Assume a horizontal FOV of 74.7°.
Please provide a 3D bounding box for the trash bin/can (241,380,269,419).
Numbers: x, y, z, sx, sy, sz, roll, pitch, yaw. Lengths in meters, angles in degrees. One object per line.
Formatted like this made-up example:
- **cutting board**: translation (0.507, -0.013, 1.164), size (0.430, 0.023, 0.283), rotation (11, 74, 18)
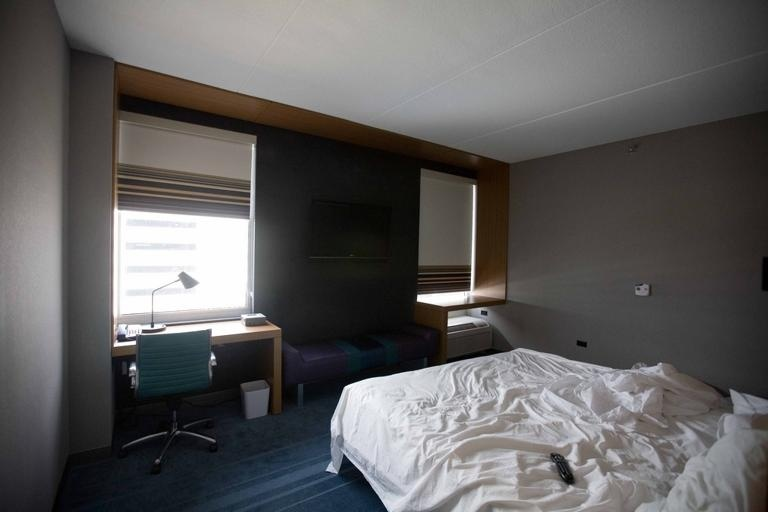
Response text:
- **trash bin/can**: translation (-1.249, 1.462, 5.218), size (0.331, 0.402, 0.291), rotation (1, -1, -35)

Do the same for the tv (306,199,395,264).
- **tv**: translation (-0.443, -0.302, 6.120), size (0.837, 0.567, 0.030), rotation (0, 3, -34)

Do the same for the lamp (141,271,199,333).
- **lamp**: translation (-2.080, 0.439, 4.953), size (0.564, 0.557, 0.262), rotation (-1, 4, -34)

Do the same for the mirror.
- **mirror**: translation (0.916, -0.340, 7.186), size (1.101, 1.522, 0.172), rotation (-2, 1, -39)

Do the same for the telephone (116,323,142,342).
- **telephone**: translation (-2.378, 0.725, 4.753), size (0.201, 0.071, 0.185), rotation (0, 18, -29)

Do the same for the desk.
- **desk**: translation (-1.619, 1.060, 5.165), size (1.008, 0.626, 0.562), rotation (-1, 3, -28)

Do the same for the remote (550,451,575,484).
- **remote**: translation (1.240, 1.483, 3.519), size (0.112, 0.046, 0.306), rotation (-20, 12, 12)
